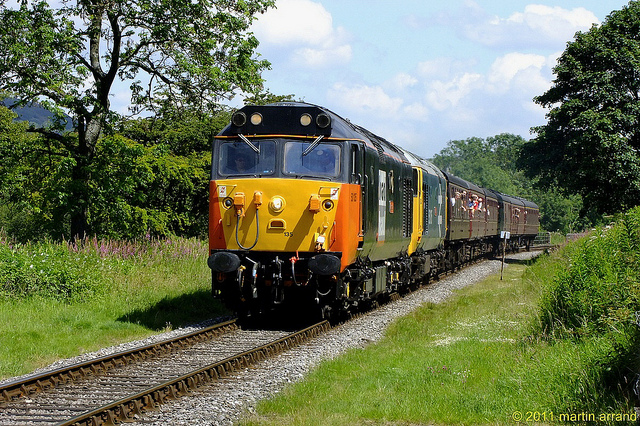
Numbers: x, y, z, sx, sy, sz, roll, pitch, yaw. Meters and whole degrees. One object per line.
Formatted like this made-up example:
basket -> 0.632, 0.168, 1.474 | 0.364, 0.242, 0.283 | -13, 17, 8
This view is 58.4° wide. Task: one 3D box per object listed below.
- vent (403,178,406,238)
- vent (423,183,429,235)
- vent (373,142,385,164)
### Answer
vent -> 3.005, -0.182, 20.332 | 0.106, 2.022, 0.547 | 1, 4, 10
vent -> 4.436, -0.157, 23.905 | 0.175, 2.020, 1.189 | 2, 4, 15
vent -> 1.844, -1.831, 17.654 | 0.251, 0.602, 0.648 | 2, 4, 13
